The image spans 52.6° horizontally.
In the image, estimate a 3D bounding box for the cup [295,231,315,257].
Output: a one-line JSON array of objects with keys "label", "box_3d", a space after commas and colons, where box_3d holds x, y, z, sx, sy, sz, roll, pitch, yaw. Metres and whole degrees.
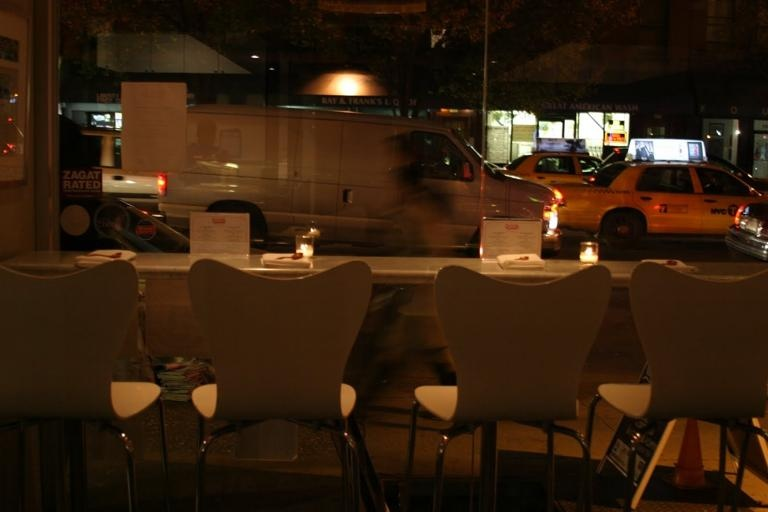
[{"label": "cup", "box_3d": [-0.461, -0.064, 4.281, 0.110, 0.136, 0.115, 1, 7, 0]}]

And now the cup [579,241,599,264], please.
[{"label": "cup", "box_3d": [1.142, -0.021, 4.364, 0.113, 0.117, 0.111, -1, 0, 0]}]

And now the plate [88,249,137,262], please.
[{"label": "plate", "box_3d": [-1.383, -0.001, 3.964, 0.176, 0.040, 0.229, 7, 7, 25]}]

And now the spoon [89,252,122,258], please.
[{"label": "spoon", "box_3d": [-1.407, -0.003, 3.923, 0.157, 0.024, 0.095, -5, 10, -25]}]
